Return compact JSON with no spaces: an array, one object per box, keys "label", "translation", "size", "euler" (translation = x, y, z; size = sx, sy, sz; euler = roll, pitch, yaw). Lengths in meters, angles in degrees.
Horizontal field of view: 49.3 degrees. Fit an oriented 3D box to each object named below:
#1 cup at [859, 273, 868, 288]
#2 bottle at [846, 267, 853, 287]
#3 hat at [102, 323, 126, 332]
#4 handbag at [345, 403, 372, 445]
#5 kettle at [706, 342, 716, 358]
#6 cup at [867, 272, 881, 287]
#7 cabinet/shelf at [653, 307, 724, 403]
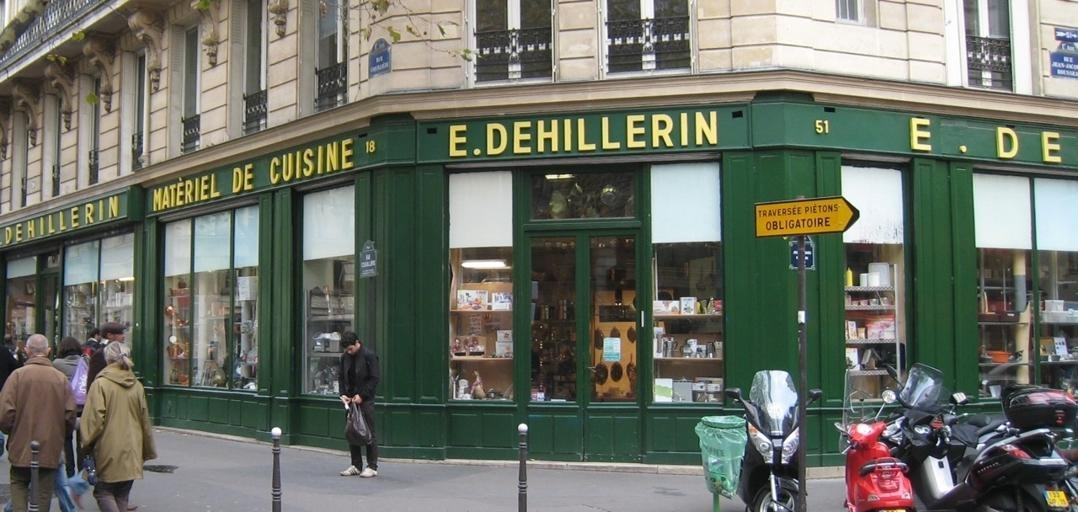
[{"label":"cup","translation":[8.671,0.664,31.425],"size":[0.232,0.339,0.097],"euler":[-5,13,-1]},{"label":"bottle","translation":[8.256,0.604,31.359],"size":[0.270,0.499,0.132],"euler":[-7,13,-8]},{"label":"hat","translation":[-10.695,1.843,29.507],"size":[0.379,0.172,0.368],"euler":[0,1,-37]},{"label":"handbag","translation":[-4.662,4.422,30.497],"size":[0.687,1.090,0.430],"euler":[-7,13,-8]},{"label":"kettle","translation":[4.583,2.540,31.316],"size":[0.250,0.355,0.117],"euler":[-1,14,17]},{"label":"cup","translation":[8.947,0.648,31.453],"size":[0.391,0.343,0.362],"euler":[2,-3,0]},{"label":"cabinet/shelf","translation":[4.050,2.760,31.365],"size":[2.930,3.031,0.977],"euler":[0,-5,3]}]
